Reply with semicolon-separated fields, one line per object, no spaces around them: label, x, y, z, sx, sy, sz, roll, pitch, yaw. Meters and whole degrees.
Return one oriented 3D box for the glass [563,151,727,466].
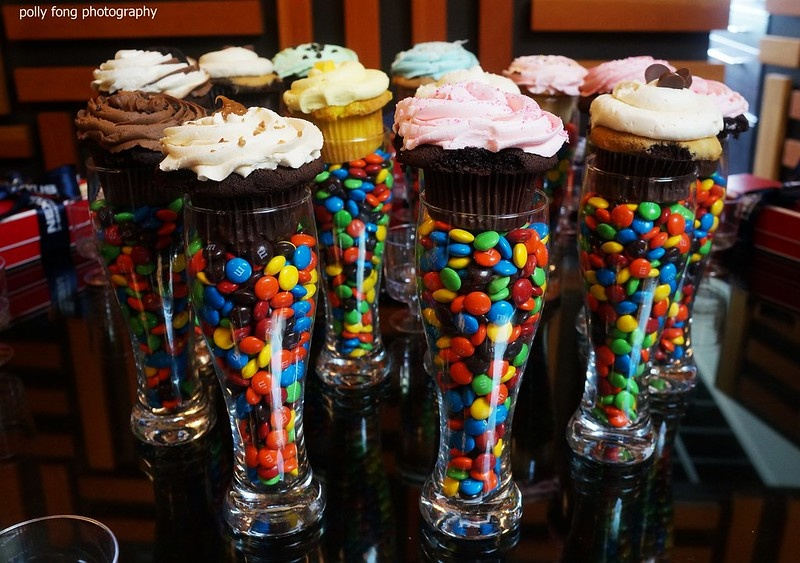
glass;0.475;0.056;1.582;0.216;0.615;0.255;6;24;20

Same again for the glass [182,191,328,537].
glass;-0.253;0.168;1.454;0.231;0.616;0.226;-7;23;-9

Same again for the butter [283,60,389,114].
butter;-0.149;-0.460;1.769;0.245;0.101;0.157;-7;23;-9

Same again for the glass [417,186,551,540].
glass;0.156;0.164;1.456;0.232;0.619;0.260;1;23;9

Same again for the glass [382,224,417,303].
glass;0.003;-0.046;2.009;0.157;0.183;0.171;0;10;0
